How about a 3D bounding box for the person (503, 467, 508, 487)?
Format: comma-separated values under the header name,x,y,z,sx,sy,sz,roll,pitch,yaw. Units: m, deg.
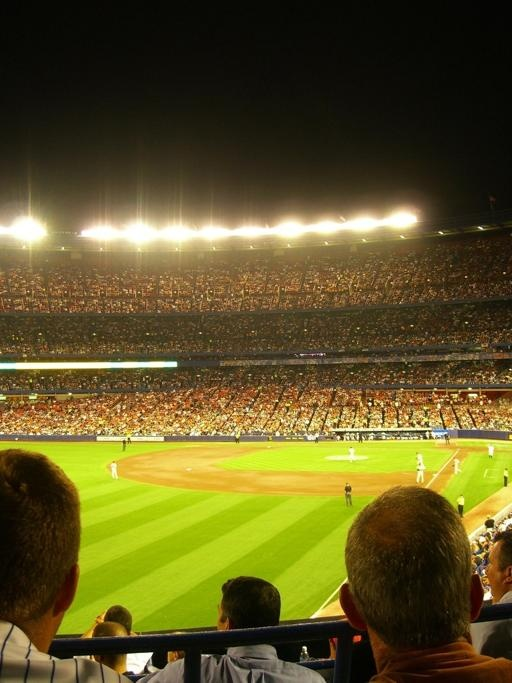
name,x,y,z,sx,sy,sz,roll,pitch,yaw
person,12.490,6.776,26.227,0.224,0.774,0.784,1,0,24
